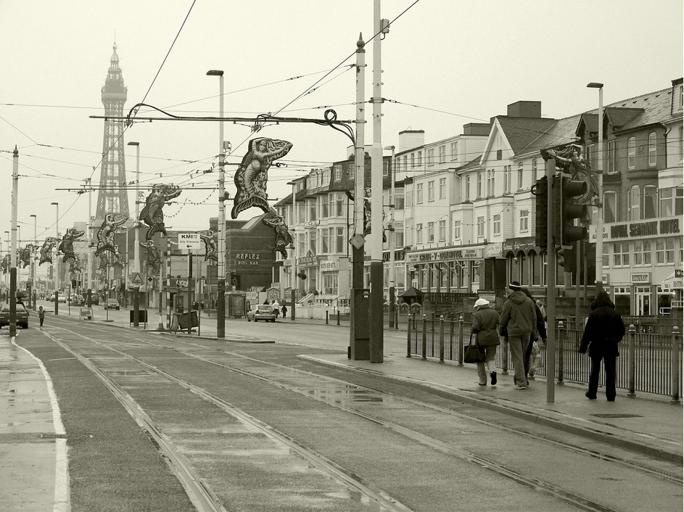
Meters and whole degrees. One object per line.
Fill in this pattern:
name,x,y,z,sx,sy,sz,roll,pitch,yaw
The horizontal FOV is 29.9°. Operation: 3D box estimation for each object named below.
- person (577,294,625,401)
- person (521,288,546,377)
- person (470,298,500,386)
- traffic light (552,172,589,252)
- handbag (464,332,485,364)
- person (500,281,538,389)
person,5.521,1.900,27.269,0.831,2.195,0.943,0,0,2
person,4.546,1.842,29.752,0.532,2.210,0.687,-1,-3,-6
person,3.394,1.946,29.531,0.519,1.981,0.694,2,-3,-15
traffic light,4.839,-0.949,26.887,0.689,1.378,0.501,0,2,23
handbag,3.076,2.077,29.395,0.489,0.700,0.698,0,-6,6
person,3.952,1.677,28.693,0.562,2.507,0.761,6,-5,-39
